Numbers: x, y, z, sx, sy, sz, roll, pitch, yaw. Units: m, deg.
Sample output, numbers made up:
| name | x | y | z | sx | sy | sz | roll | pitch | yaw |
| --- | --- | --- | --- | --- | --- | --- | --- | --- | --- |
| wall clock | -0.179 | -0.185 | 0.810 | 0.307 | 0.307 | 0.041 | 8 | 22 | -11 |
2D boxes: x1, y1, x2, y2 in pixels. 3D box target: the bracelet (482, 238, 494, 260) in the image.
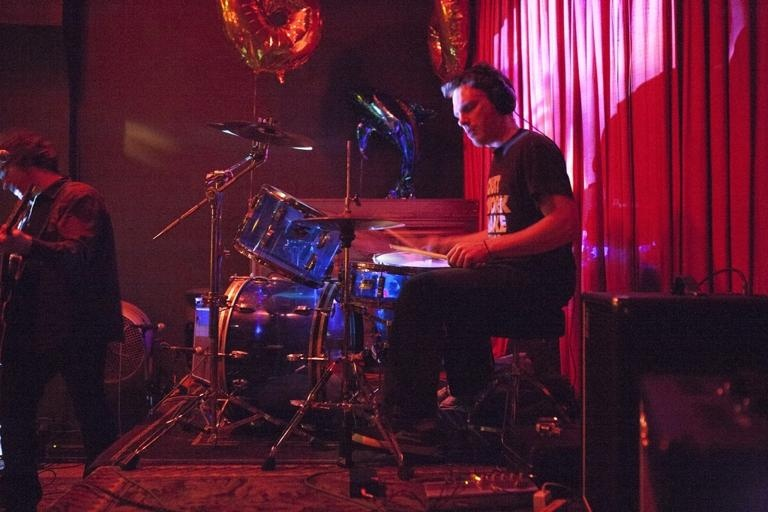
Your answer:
| name | x | y | z | sx | sy | sz | roll | pitch | yaw |
| --- | --- | --- | --- | --- | --- | --- | --- | --- | --- |
| bracelet | 0.495 | -0.029 | 3.626 | 0.018 | 0.072 | 0.066 | -17 | 5 | -8 |

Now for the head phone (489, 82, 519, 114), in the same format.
| name | x | y | z | sx | sy | sz | roll | pitch | yaw |
| --- | --- | --- | --- | --- | --- | --- | --- | --- | --- |
| head phone | 0.590 | -0.777 | 3.843 | 0.119 | 0.157 | 0.057 | -36 | -15 | -42 |

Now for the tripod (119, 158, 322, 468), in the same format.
| name | x | y | z | sx | sy | sz | roll | pitch | yaw |
| --- | --- | --- | --- | --- | --- | --- | --- | --- | --- |
| tripod | -1.035 | 0.284 | 4.600 | 1.180 | 1.728 | 1.064 | 4 | 6 | 28 |

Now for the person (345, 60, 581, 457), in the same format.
| name | x | y | z | sx | sy | sz | roll | pitch | yaw |
| --- | --- | --- | --- | --- | --- | --- | --- | --- | --- |
| person | 0.503 | -0.010 | 3.889 | 1.061 | 1.862 | 0.979 | 6 | -3 | -37 |

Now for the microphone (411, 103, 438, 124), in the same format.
| name | x | y | z | sx | sy | sz | roll | pitch | yaw |
| --- | --- | --- | --- | --- | --- | --- | --- | --- | --- |
| microphone | 0.311 | -1.140 | 6.115 | 0.185 | 0.046 | 0.196 | 32 | 23 | 25 |

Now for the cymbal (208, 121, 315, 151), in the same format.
| name | x | y | z | sx | sy | sz | roll | pitch | yaw |
| --- | --- | --- | --- | --- | --- | --- | --- | --- | --- |
| cymbal | -0.766 | -0.759 | 4.790 | 0.346 | 0.190 | 0.558 | 4 | 14 | 36 |

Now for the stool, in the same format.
| name | x | y | z | sx | sy | sz | roll | pitch | yaw |
| --- | --- | --- | --- | --- | --- | --- | --- | --- | --- |
| stool | 0.774 | 0.695 | 4.299 | 0.508 | 0.486 | 0.445 | -9 | -2 | -14 |

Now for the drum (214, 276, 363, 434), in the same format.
| name | x | y | z | sx | sy | sz | roll | pitch | yaw |
| --- | --- | --- | --- | --- | --- | --- | --- | --- | --- |
| drum | -0.649 | 0.677 | 4.966 | 0.766 | 0.950 | 0.951 | 4 | -14 | 1 |
